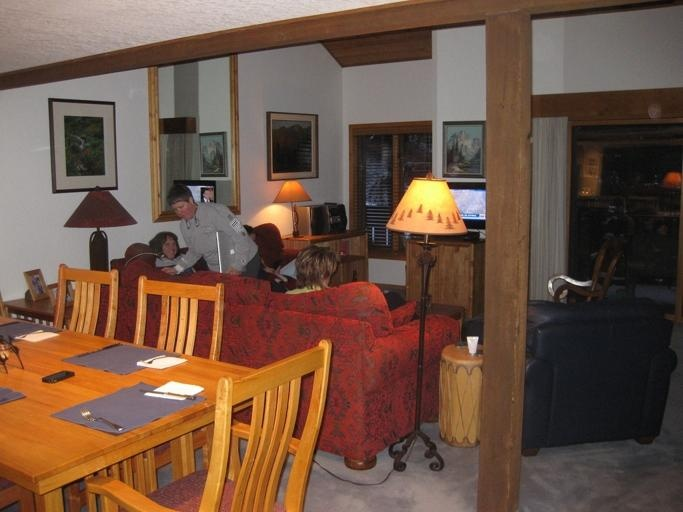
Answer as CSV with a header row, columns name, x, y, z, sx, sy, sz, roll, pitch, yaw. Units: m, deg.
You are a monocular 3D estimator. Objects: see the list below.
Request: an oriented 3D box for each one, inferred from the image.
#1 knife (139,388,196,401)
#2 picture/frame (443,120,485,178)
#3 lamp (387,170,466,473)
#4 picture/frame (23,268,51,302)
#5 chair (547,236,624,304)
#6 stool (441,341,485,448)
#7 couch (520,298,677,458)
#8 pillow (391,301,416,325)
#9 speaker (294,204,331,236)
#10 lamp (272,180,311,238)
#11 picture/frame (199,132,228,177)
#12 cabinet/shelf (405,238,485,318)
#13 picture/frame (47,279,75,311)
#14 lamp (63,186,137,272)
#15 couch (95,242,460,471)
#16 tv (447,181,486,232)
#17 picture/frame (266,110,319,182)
name,x,y,z,sx,sy,sz,roll,pitch,yaw
knife,-0.735,0.585,2.332,0.302,0.025,0.072,2,7,11
picture/frame,1.490,-1.300,6.668,0.652,0.853,0.088,2,9,20
lamp,0.518,0.395,3.572,0.480,1.815,0.771,3,12,8
picture/frame,-2.555,0.252,4.641,0.141,0.257,0.222,6,11,18
chair,2.655,0.124,6.078,0.738,1.061,0.600,1,11,10
stool,0.826,0.965,3.711,0.326,0.569,0.330,4,-4,-6
couch,1.591,0.693,3.936,0.977,0.943,0.969,-1,6,-5
pillow,0.426,0.402,3.811,0.113,0.200,0.070,29,-25,21
speaker,-0.346,-0.474,7.362,0.358,0.485,0.499,-1,5,22
lamp,-0.636,-0.626,7.234,0.403,0.689,0.673,6,13,20
picture/frame,-1.475,-1.151,6.321,0.065,0.677,0.486,4,8,39
cabinet/shelf,1.147,0.228,5.846,0.837,0.827,0.301,4,7,32
picture/frame,-2.080,0.302,4.119,0.011,0.251,0.247,2,7,29
lamp,-1.996,-0.231,4.880,0.660,0.818,0.644,1,3,13
couch,-0.556,0.573,4.240,2.316,1.246,1.270,10,9,30
tv,1.481,-0.555,6.777,0.531,0.523,0.286,0,-16,-11
picture/frame,-0.681,-1.454,7.347,0.099,0.859,0.991,3,7,34
